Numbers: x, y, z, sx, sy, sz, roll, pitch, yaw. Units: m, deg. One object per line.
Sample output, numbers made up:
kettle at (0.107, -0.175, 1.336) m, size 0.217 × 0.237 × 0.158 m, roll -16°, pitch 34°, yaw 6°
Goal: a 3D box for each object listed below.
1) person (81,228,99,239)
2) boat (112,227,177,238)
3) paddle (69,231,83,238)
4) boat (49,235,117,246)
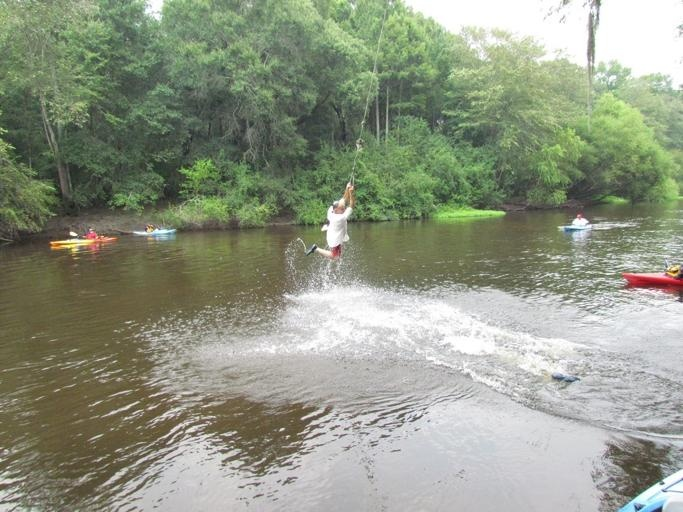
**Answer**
person at (-15.863, -1.367, 33.738) m, size 0.864 × 0.385 × 0.867 m, roll -4°, pitch -2°, yaw 30°
boat at (-13.148, -1.519, 35.517) m, size 3.639 × 0.506 × 0.852 m, roll 1°, pitch 0°, yaw 31°
paddle at (-16.803, -1.332, 33.897) m, size 0.278 × 0.327 × 1.083 m, roll 16°, pitch -3°, yaw -33°
boat at (-15.161, -0.858, 31.645) m, size 0.764 × 0.525 × 3.695 m, roll -10°, pitch -6°, yaw 35°
